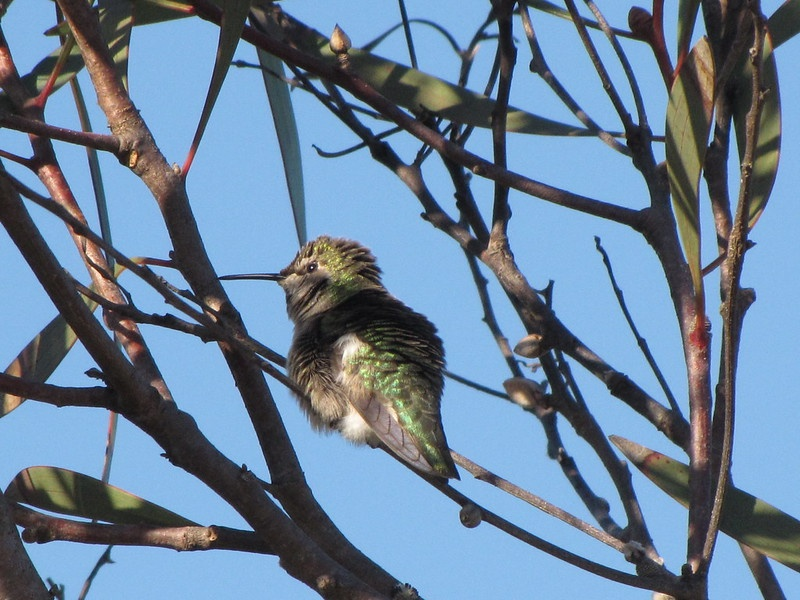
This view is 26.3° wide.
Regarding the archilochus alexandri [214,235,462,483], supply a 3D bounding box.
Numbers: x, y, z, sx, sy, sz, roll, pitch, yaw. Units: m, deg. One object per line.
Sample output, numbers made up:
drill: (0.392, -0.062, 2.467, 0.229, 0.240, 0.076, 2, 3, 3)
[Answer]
archilochus alexandri: (-0.096, 0.160, 4.604, 0.502, 0.705, 0.302, -1, -24, 10)
